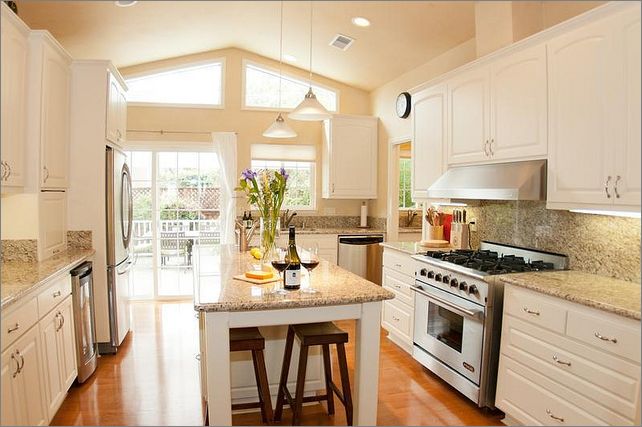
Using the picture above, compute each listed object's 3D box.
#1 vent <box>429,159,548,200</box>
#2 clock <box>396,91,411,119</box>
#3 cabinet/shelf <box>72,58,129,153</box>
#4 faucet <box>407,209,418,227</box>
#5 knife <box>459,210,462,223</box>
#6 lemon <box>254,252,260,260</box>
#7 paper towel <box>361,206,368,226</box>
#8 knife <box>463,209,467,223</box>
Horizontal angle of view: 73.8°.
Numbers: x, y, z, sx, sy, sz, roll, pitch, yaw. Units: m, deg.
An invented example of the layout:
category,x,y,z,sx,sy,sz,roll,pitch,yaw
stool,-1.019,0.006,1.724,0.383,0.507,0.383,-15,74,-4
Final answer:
category,x,y,z,sx,sy,sz,roll,pitch,yaw
vent,1.523,-0.233,4.243,0.895,0.293,0.282,2,-14,36
clock,1.165,-1.541,6.132,0.096,0.368,0.395,-4,11,-10
cabinet/shelf,-2.433,-1.211,4.833,0.392,0.945,0.721,1,11,13
faucet,1.511,0.081,7.189,0.129,0.266,0.202,7,14,38
knife,1.606,0.039,4.925,0.023,0.105,0.046,-3,11,-4
lemon,-0.626,0.428,4.209,0.056,0.056,0.055,20,-9,45
paper towel,0.718,0.040,7.099,0.128,0.358,0.357,0,11,6
knife,1.657,0.038,4.919,0.047,0.135,0.100,3,12,21
